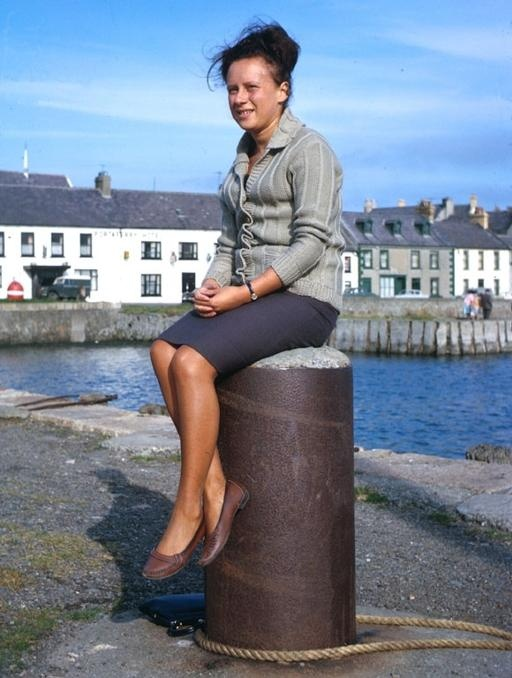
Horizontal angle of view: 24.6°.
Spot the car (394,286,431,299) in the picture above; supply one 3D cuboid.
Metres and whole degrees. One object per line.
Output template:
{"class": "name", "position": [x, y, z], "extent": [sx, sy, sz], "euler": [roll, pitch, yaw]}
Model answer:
{"class": "car", "position": [7.337, -2.260, 56.190], "extent": [1.043, 0.898, 2.036], "euler": [-2, -3, 36]}

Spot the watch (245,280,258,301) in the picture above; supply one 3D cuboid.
{"class": "watch", "position": [-0.023, -0.185, 4.485], "extent": [0.049, 0.071, 0.042], "euler": [0, 3, -1]}

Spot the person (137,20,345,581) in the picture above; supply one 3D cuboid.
{"class": "person", "position": [-0.024, -0.173, 4.578], "extent": [0.729, 2.158, 0.875], "euler": [1, 3, 12]}

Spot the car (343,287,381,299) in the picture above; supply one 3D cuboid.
{"class": "car", "position": [4.398, -1.856, 49.540], "extent": [1.506, 0.736, 0.915], "euler": [-4, 8, -3]}

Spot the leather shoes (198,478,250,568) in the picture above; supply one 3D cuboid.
{"class": "leather shoes", "position": [-0.125, 0.677, 4.389], "extent": [0.140, 0.357, 0.118], "euler": [29, -6, -23]}

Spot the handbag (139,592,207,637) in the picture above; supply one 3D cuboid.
{"class": "handbag", "position": [-0.348, 1.127, 4.784], "extent": [0.260, 0.084, 0.299], "euler": [0, 3, -3]}

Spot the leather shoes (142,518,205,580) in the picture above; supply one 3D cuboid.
{"class": "leather shoes", "position": [-0.303, 0.783, 4.336], "extent": [0.253, 0.198, 0.131], "euler": [-1, 3, -20]}
